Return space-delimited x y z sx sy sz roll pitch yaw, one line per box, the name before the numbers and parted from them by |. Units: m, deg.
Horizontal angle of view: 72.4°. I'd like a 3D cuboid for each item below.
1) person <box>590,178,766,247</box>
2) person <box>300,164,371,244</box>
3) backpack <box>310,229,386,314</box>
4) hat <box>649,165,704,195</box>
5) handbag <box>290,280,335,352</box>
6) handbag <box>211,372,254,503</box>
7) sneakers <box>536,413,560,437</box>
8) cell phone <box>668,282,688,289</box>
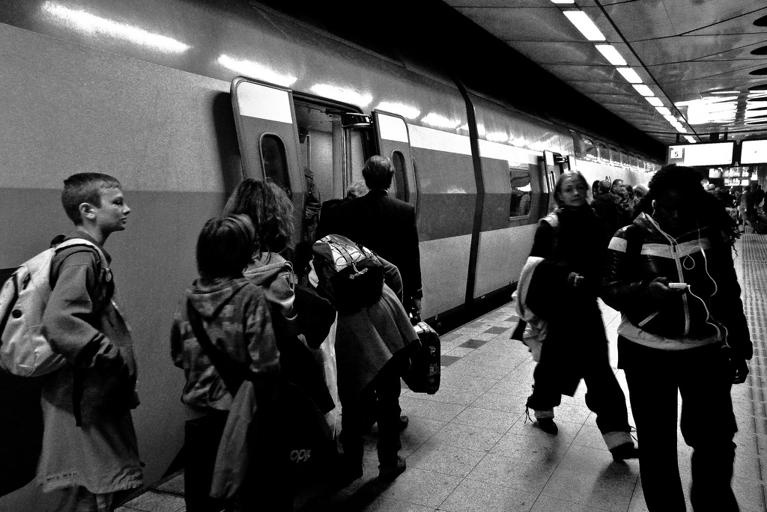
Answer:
person | 1.910 -0.280 3.712 1.068 0.483 1.392 -3 6 5
person | -0.447 -0.564 6.172 0.366 0.695 1.366 -34 -32 33
backpack | -0.255 0.118 3.641 0.547 0.459 0.368 -9 6 -4
hat | 1.676 -0.430 3.014 0.230 0.098 0.184 5 1 24
handbag | -0.431 0.404 2.979 0.138 0.301 0.414 -10 -9 10
handbag | -0.763 0.959 2.666 0.226 0.643 0.102 -8 12 -39
sneakers | 1.415 1.447 4.449 0.114 0.094 0.230 -1 -7 2
cell phone | 1.644 0.170 2.922 0.062 0.042 0.019 9 26 39
